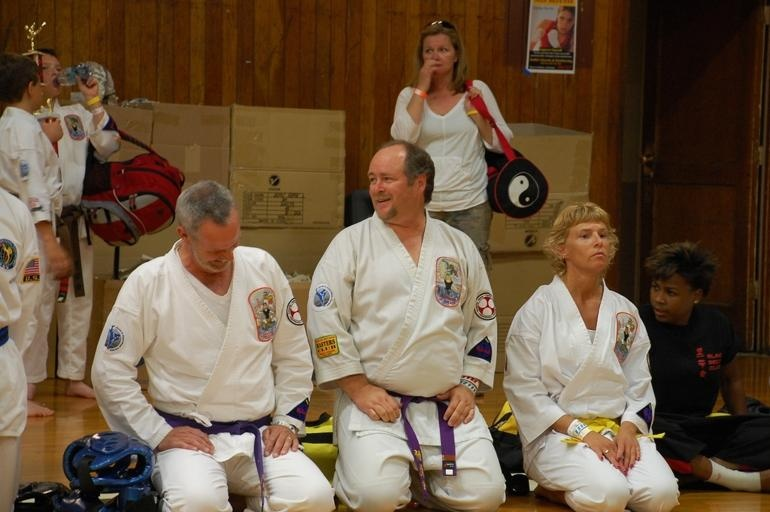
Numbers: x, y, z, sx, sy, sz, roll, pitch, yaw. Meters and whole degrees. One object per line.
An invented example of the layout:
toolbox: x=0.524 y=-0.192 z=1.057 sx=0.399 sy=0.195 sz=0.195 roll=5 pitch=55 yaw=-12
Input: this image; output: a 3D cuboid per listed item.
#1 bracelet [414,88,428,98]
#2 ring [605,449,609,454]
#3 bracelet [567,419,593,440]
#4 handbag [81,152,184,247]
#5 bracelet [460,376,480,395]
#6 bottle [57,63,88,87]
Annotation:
bracelet: x=0.227 y=-1.002 z=5.129 sx=0.059 sy=0.069 sz=0.067 roll=24 pitch=-41 yaw=12
ring: x=1.084 y=0.951 z=4.014 sx=0.010 sy=0.018 sz=0.018 roll=19 pitch=-24 yaw=30
bracelet: x=0.957 y=0.859 z=4.061 sx=0.096 sy=0.079 sz=0.041 roll=29 pitch=-16 yaw=4
handbag: x=-1.643 y=-0.358 z=5.567 sx=0.648 sy=0.540 sz=0.674 roll=-2 pitch=-9 yaw=-2
bracelet: x=0.431 y=0.648 z=4.148 sx=0.064 sy=0.094 sz=0.093 roll=-25 pitch=-26 yaw=5
bottle: x=-2.009 y=-1.160 z=5.298 sx=0.189 sy=0.127 sz=0.078 roll=-26 pitch=14 yaw=-10
